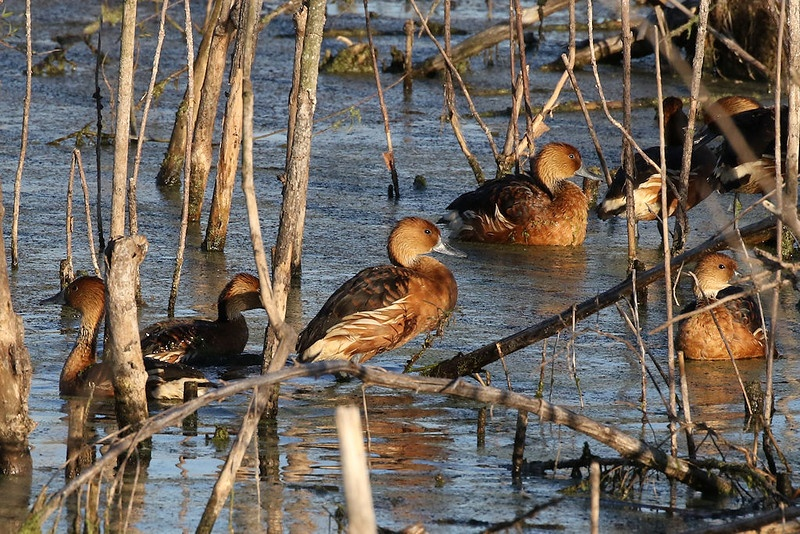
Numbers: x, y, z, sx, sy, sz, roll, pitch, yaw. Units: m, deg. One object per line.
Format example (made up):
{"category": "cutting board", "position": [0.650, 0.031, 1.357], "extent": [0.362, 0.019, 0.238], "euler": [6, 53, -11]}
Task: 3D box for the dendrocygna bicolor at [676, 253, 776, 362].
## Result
{"category": "dendrocygna bicolor", "position": [2.941, 0.361, 12.108], "extent": [0.806, 0.990, 0.998], "euler": [2, 1, 41]}
